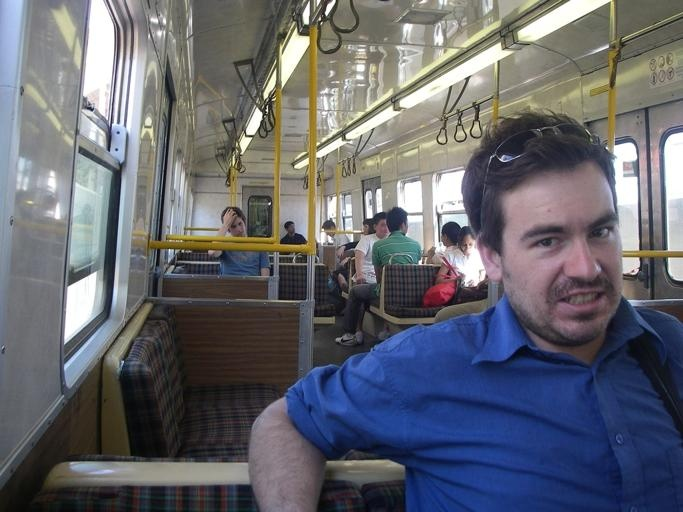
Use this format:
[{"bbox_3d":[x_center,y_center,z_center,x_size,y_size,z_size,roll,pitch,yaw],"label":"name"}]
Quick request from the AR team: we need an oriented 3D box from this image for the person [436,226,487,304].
[{"bbox_3d":[1.443,0.212,6.400,0.450,1.037,0.547,11,-9,4],"label":"person"}]

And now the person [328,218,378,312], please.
[{"bbox_3d":[0.151,0.141,8.655,0.798,1.714,0.657,11,-37,4],"label":"person"}]

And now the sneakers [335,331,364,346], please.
[{"bbox_3d":[0.079,1.038,6.639,0.373,0.180,0.135,2,-7,-9],"label":"sneakers"}]
